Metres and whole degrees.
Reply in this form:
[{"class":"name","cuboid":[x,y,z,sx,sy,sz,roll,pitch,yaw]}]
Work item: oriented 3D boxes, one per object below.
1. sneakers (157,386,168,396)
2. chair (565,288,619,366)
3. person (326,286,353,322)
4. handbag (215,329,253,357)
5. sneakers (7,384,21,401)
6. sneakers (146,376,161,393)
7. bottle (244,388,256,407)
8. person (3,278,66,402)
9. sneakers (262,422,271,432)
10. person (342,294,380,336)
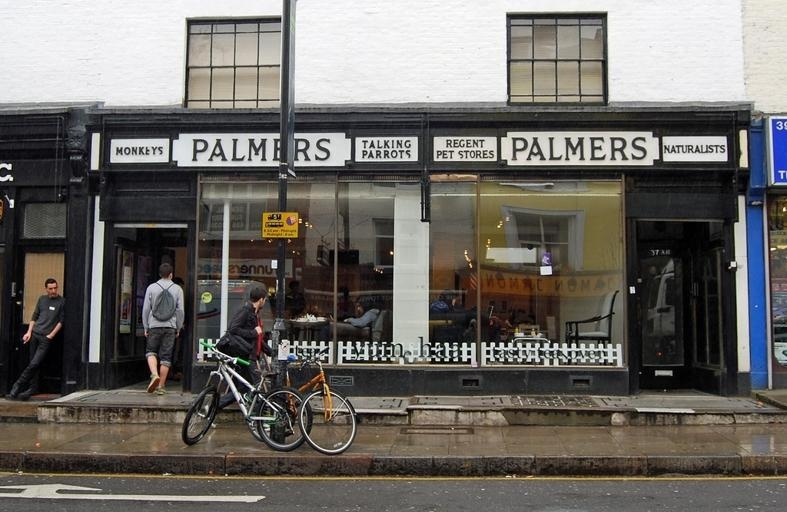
[{"class":"sneakers","cuboid":[-5.051,2.925,22.801,0.183,0.222,0.533,1,-9,-10]},{"class":"chair","cuboid":[4.408,1.572,23.365,1.125,1.466,0.969,-1,-2,2]},{"class":"person","cuboid":[-1.134,1.091,23.403,0.531,0.847,0.452,-4,18,-13]},{"class":"handbag","cuboid":[-3.069,1.779,20.550,0.556,0.234,0.556,4,-19,44]},{"class":"sneakers","cuboid":[-8.317,2.941,23.016,0.192,0.237,0.614,22,2,-19]},{"class":"sneakers","cuboid":[-5.179,2.742,22.524,0.300,0.392,0.241,-1,-5,28]},{"class":"bottle","cuboid":[-2.769,2.727,20.107,0.154,0.383,0.140,-4,-7,0]},{"class":"person","cuboid":[-7.790,1.821,23.028,0.927,2.629,0.536,0,-4,8]},{"class":"sneakers","cuboid":[-2.408,3.222,19.859,0.191,0.175,0.073,0,-4,10]},{"class":"person","cuboid":[-0.754,1.365,23.451,0.748,0.299,0.561,6,22,40]}]
